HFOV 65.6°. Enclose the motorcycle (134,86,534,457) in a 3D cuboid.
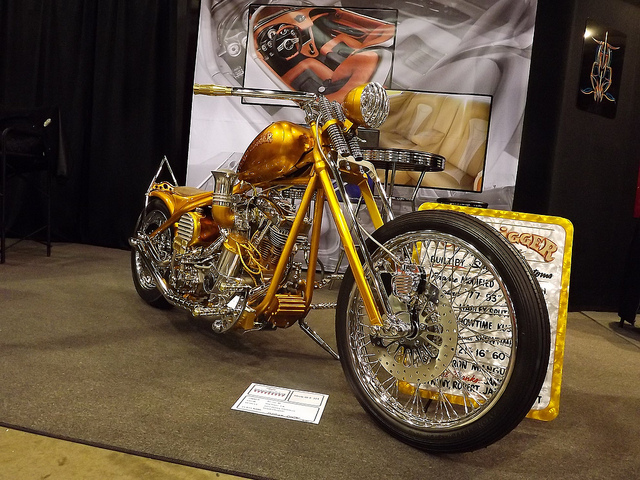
[{"bbox_3d":[0.025,-0.010,2.255,0.937,1.300,2.076,-4,14,-37],"label":"motorcycle"}]
